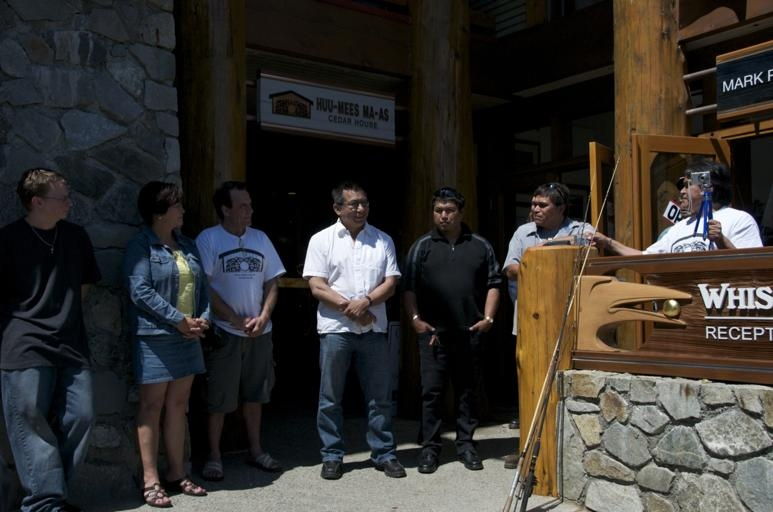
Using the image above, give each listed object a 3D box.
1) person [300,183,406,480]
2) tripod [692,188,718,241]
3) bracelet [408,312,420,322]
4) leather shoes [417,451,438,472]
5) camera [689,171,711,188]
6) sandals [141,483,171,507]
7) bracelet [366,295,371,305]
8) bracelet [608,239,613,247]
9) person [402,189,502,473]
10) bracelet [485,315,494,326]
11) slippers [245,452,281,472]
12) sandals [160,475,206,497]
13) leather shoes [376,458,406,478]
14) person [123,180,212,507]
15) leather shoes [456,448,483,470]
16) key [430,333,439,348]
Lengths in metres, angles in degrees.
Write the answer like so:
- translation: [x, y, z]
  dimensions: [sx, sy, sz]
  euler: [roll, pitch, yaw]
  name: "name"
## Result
- translation: [-0.298, 0.622, 7.111]
  dimensions: [0.853, 2.515, 0.700]
  euler: [-1, 5, -7]
  name: "person"
- translation: [2.364, -0.302, 6.027]
  dimensions: [0.100, 0.359, 0.392]
  euler: [1, 5, 14]
  name: "tripod"
- translation: [0.249, 0.555, 7.383]
  dimensions: [0.117, 0.053, 0.131]
  euler: [2, 18, 0]
  name: "bracelet"
- translation: [0.353, 1.799, 7.046]
  dimensions: [0.163, 0.164, 0.164]
  euler: [0, 4, -1]
  name: "leather shoes"
- translation: [2.316, -0.572, 5.996]
  dimensions: [0.104, 0.140, 0.200]
  euler: [2, 3, -13]
  name: "camera"
- translation: [-1.798, 1.877, 6.338]
  dimensions: [0.265, 0.158, 0.168]
  euler: [0, 4, -2]
  name: "sandals"
- translation: [-0.155, 0.387, 7.024]
  dimensions: [0.022, 0.058, 0.057]
  euler: [-8, -4, -8]
  name: "bracelet"
- translation: [1.722, -0.103, 6.223]
  dimensions: [0.011, 0.040, 0.040]
  euler: [3, 0, -10]
  name: "bracelet"
- translation: [0.585, 0.628, 7.264]
  dimensions: [0.876, 2.457, 0.681]
  euler: [0, 5, 1]
  name: "person"
- translation: [0.925, 0.584, 7.296]
  dimensions: [0.076, 0.060, 0.083]
  euler: [9, 3, -31]
  name: "bracelet"
- translation: [-1.075, 1.821, 7.125]
  dimensions: [0.281, 0.118, 0.129]
  euler: [3, 11, 35]
  name: "slippers"
- translation: [-1.639, 1.865, 6.545]
  dimensions: [0.365, 0.144, 0.140]
  euler: [0, 0, 3]
  name: "sandals"
- translation: [0.033, 1.843, 6.995]
  dimensions: [0.108, 0.122, 0.291]
  euler: [2, -4, -38]
  name: "leather shoes"
- translation: [-1.745, 0.670, 6.536]
  dimensions: [0.652, 2.534, 0.686]
  euler: [-2, 5, -26]
  name: "person"
- translation: [0.739, 1.796, 7.136]
  dimensions: [0.098, 0.107, 0.256]
  euler: [0, 1, -24]
  name: "leather shoes"
- translation: [0.416, 0.765, 7.250]
  dimensions: [0.077, 0.115, 0.040]
  euler: [0, 0, 23]
  name: "key"
